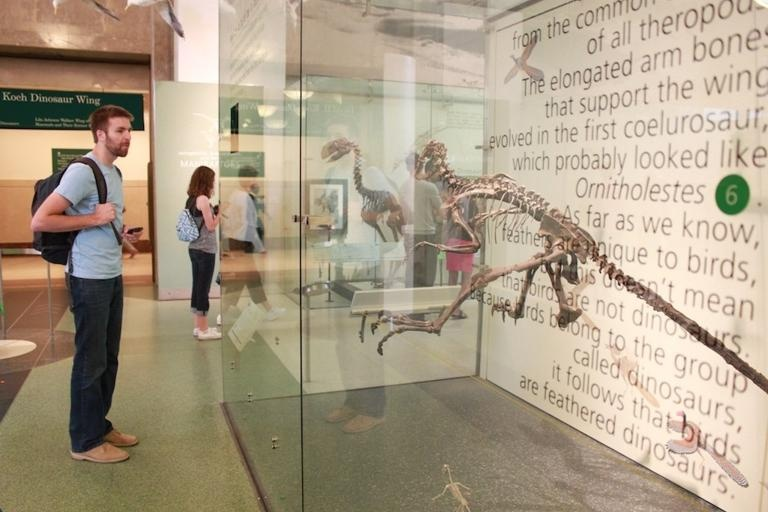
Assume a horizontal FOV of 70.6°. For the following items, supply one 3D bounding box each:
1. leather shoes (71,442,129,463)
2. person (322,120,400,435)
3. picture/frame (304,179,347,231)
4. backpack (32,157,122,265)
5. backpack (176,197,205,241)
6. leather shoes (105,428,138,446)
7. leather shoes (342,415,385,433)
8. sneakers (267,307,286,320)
[{"bbox_3d":[-1.821,1.273,3.585,0.348,0.161,0.143,2,1,-5],"label":"leather shoes"},{"bbox_3d":[-0.101,0.119,2.159,0.110,1.175,0.444,-4,9,-37],"label":"person"},{"bbox_3d":[-0.231,-0.218,2.245,0.206,0.211,0.008,-6,13,-41],"label":"picture/frame"},{"bbox_3d":[-1.885,-0.293,3.525,0.675,0.684,0.483,8,14,11],"label":"backpack"},{"bbox_3d":[-2.032,-0.321,5.836,0.228,0.421,0.303,-12,-8,-19],"label":"backpack"},{"bbox_3d":[-1.781,1.252,3.771,0.225,0.094,0.086,4,2,-1],"label":"leather shoes"},{"bbox_3d":[-0.067,0.654,2.151,0.128,0.050,0.079,-3,-1,-20],"label":"leather shoes"},{"bbox_3d":[-0.564,0.306,2.927,0.144,0.062,0.055,-15,36,51],"label":"sneakers"}]
